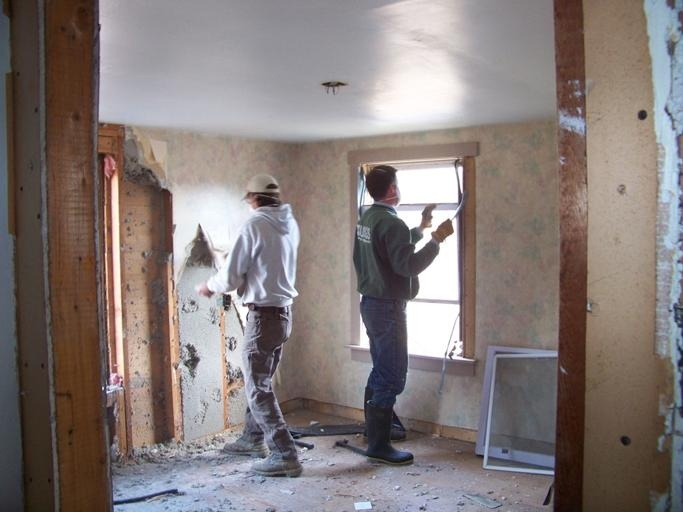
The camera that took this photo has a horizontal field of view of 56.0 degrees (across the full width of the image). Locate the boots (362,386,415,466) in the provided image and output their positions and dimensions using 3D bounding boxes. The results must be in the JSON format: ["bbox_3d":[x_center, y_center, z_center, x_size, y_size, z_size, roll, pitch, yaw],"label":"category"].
[{"bbox_3d":[0.356,1.105,4.031,0.448,0.618,0.213,-1,1,7],"label":"boots"}]

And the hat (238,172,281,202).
[{"bbox_3d":[-0.516,-0.439,4.017,0.184,0.145,0.243,-6,10,-40],"label":"hat"}]

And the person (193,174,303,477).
[{"bbox_3d":[-0.504,0.396,3.865,0.541,1.776,0.470,1,3,-7],"label":"person"}]

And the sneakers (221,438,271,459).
[{"bbox_3d":[-0.604,1.221,4.155,0.297,0.150,0.113,3,-6,21],"label":"sneakers"}]

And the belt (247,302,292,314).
[{"bbox_3d":[-0.424,0.313,3.805,0.252,0.067,0.144,1,3,-13],"label":"belt"}]

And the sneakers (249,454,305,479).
[{"bbox_3d":[-0.370,1.226,3.774,0.264,0.133,0.122,3,-8,5],"label":"sneakers"}]

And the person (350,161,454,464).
[{"bbox_3d":[0.343,0.359,3.980,0.396,1.843,0.724,0,3,-24],"label":"person"}]
